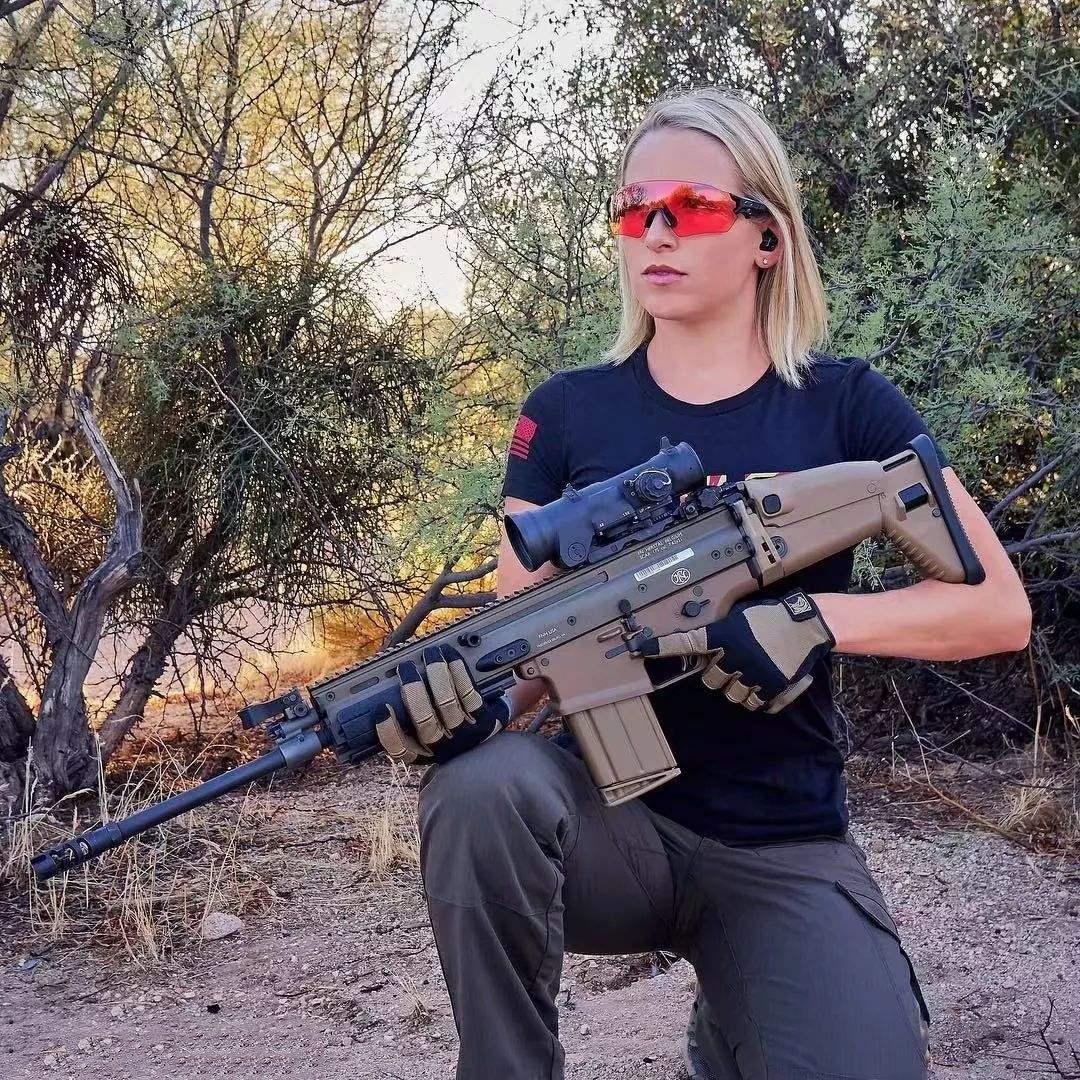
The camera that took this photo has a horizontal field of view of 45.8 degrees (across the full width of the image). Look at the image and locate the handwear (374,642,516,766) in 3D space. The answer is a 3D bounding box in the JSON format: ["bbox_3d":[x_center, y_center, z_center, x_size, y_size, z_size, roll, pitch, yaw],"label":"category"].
[{"bbox_3d":[-0.193,0.377,2.920,0.161,0.292,0.403,8,17,40],"label":"handwear"}]

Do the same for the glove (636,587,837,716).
[{"bbox_3d":[0.467,0.261,2.999,0.448,0.255,0.160,-1,13,8],"label":"glove"}]

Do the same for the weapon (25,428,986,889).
[{"bbox_3d":[-0.167,0.373,4.202,3.244,1.253,0.473,-24,-7,-7],"label":"weapon"}]
